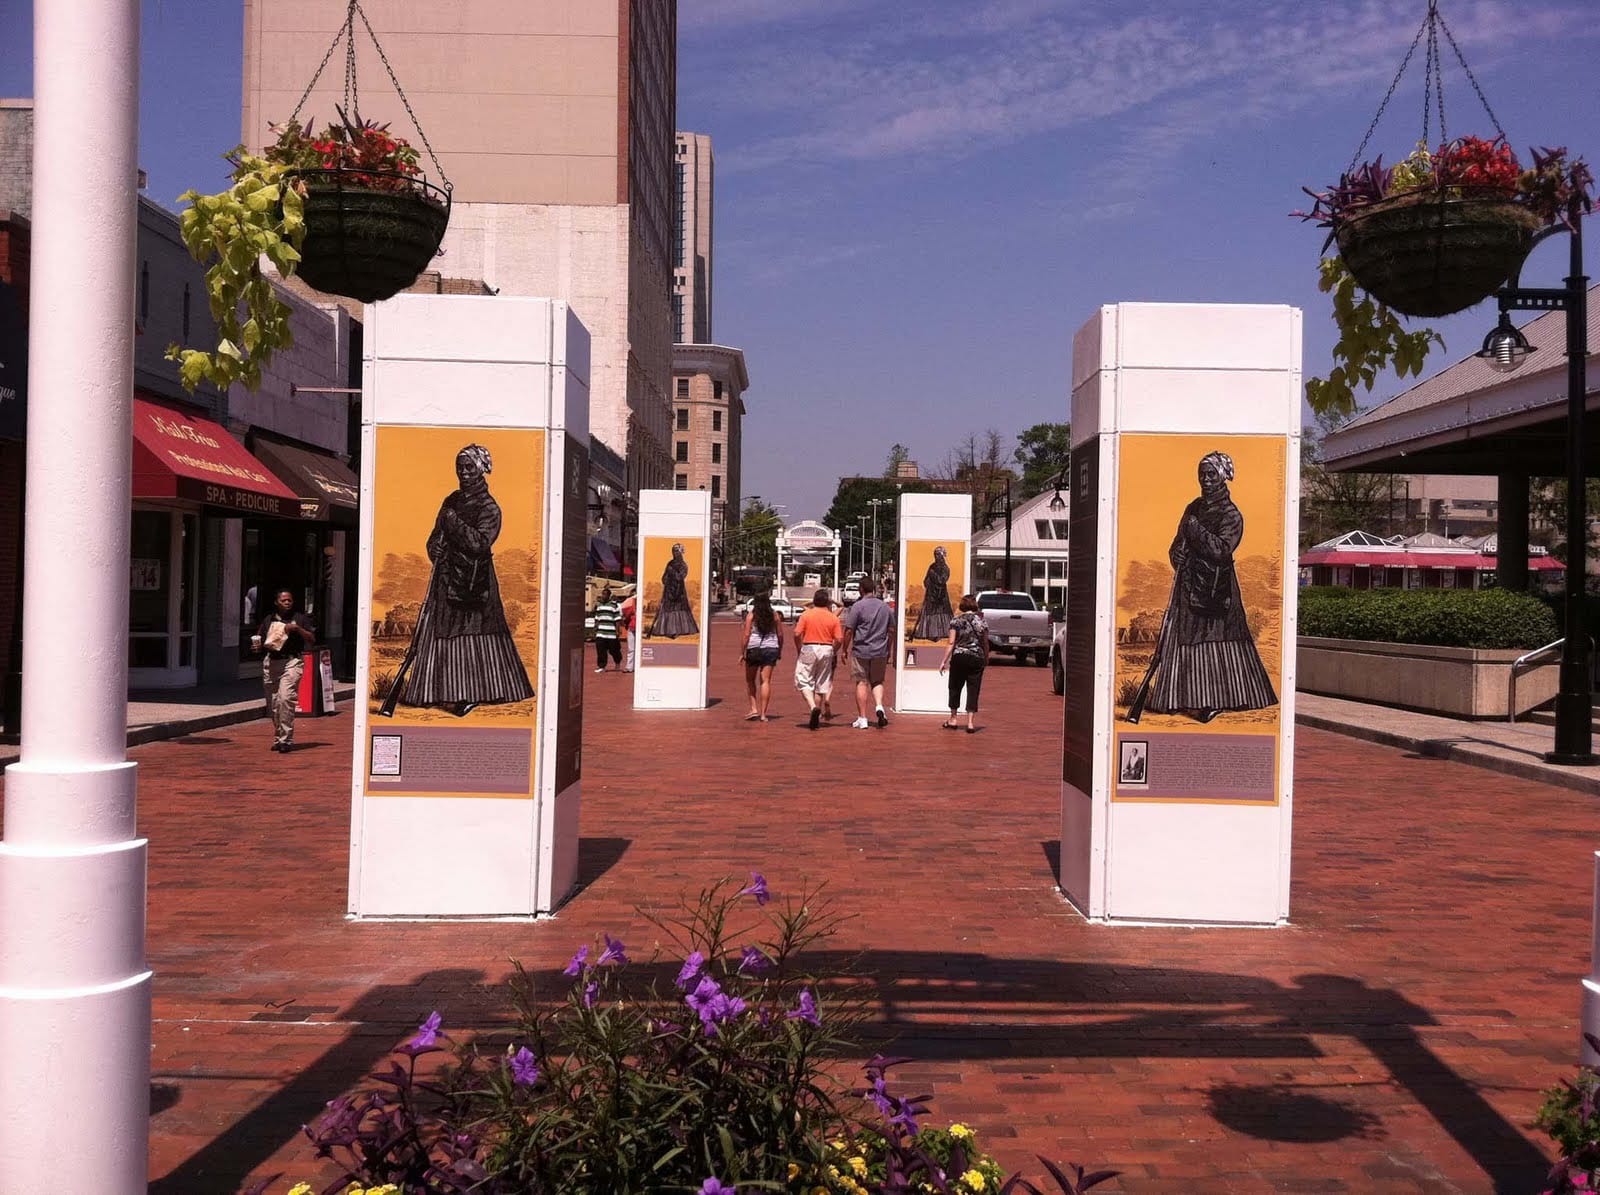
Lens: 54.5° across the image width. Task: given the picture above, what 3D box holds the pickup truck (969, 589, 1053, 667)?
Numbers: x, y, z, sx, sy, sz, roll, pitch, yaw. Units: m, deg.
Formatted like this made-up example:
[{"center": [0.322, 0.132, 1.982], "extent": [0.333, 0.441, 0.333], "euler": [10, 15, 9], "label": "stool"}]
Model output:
[{"center": [5.496, 0.929, 40.208], "extent": [1.674, 1.511, 3.170], "euler": [1, 6, -1], "label": "pickup truck"}]

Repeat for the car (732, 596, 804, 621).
[{"center": [-1.507, 0.901, 76.220], "extent": [3.247, 1.246, 1.680], "euler": [-1, 4, -2], "label": "car"}]

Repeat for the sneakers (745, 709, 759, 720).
[{"center": [-0.673, 1.702, 22.133], "extent": [0.214, 0.234, 0.117], "euler": [1, -4, -1], "label": "sneakers"}]

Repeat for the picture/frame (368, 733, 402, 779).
[{"center": [-2.510, 0.947, 9.370], "extent": [0.243, 0.388, 0.046], "euler": [0, -1, -7], "label": "picture/frame"}]

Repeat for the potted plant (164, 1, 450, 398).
[{"center": [-2.105, -1.506, 6.623], "extent": [0.548, 1.213, 1.259], "euler": [0, -1, 32], "label": "potted plant"}]
